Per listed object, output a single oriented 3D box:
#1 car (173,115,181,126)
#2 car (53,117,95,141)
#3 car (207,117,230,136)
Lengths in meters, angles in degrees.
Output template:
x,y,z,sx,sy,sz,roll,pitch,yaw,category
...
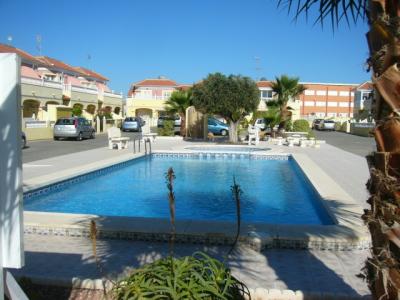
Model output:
x,y,z,sx,sy,sz,roll,pitch,yaw,category
-3.974,-5.043,49.469,1.089,1.686,2.859,-4,1,-7,car
-11.718,-1.980,26.035,3.226,2.298,1.759,-5,1,-42,car
2.191,-2.677,33.033,2.640,1.300,1.438,-1,6,2,car
